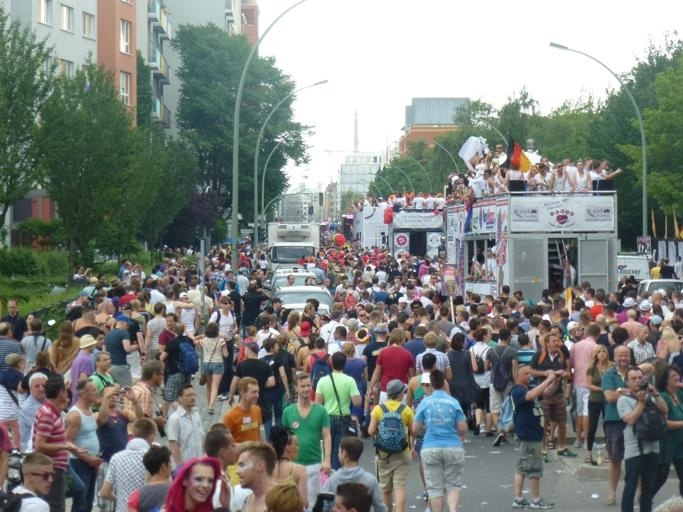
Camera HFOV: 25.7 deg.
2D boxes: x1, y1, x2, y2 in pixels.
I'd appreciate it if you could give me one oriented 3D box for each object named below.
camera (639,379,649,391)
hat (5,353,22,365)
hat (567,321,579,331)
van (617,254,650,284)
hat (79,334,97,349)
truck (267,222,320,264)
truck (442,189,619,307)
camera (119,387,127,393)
[{"bbox_3d":[6.980,2.945,34.415,0.163,0.212,0.207,0,-3,28],"label":"camera"},{"bbox_3d":[-7.881,2.448,35.923,0.362,0.254,0.457,2,-3,-13],"label":"hat"},{"bbox_3d":[6.007,1.795,38.897,0.239,0.157,0.188,-16,-2,41],"label":"hat"},{"bbox_3d":[10.490,0.589,53.637,1.023,1.107,1.810,1,6,6],"label":"van"},{"bbox_3d":[-6.134,2.084,36.152,0.323,0.151,0.325,-15,6,27],"label":"hat"},{"bbox_3d":[-1.887,-0.653,56.980,1.543,1.762,2.355,0,-1,-3],"label":"truck"},{"bbox_3d":[6.883,0.086,48.719,3.852,4.183,6.193,2,0,0],"label":"truck"},{"bbox_3d":[-5.162,3.150,35.440,0.197,0.080,0.294,-2,-3,-3],"label":"camera"}]
